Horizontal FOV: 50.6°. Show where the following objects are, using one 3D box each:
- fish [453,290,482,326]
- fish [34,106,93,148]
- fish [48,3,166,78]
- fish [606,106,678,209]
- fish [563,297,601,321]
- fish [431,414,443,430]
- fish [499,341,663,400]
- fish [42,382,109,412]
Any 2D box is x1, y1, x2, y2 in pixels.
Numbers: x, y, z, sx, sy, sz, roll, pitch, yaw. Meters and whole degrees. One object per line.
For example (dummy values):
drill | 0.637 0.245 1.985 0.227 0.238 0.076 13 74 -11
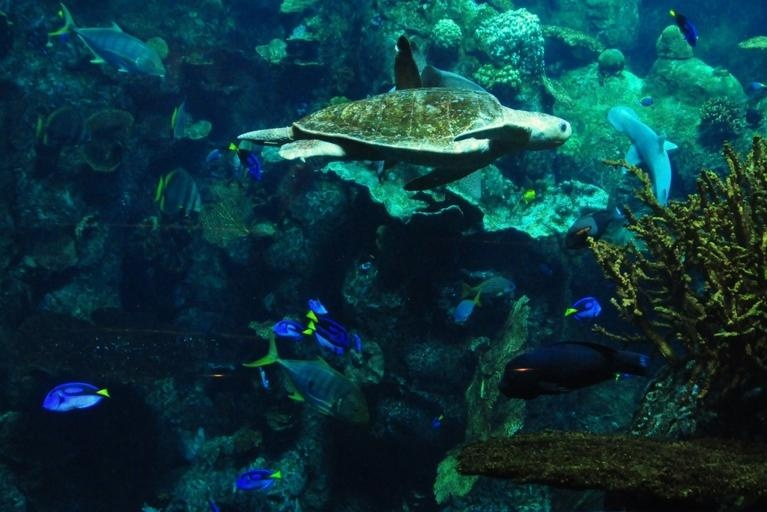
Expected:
fish | 2.060 1.277 20.138 0.904 0.462 0.275 -35 43 -16
fish | -8.831 -3.446 22.423 1.118 1.235 0.606 -12 19 -22
fish | -7.894 -5.964 22.836 3.876 1.587 1.292 26 10 -7
fish | 6.520 -2.608 19.970 1.564 2.565 1.772 0 22 7
fish | 4.907 1.330 19.970 0.724 0.651 0.379 11 24 3
fish | 1.352 4.145 20.250 0.243 0.343 0.116 45 22 13
fish | 3.956 2.526 17.465 3.119 0.905 1.400 -13 53 13
fish | -7.593 3.505 19.863 1.393 0.852 0.292 4 24 -13
